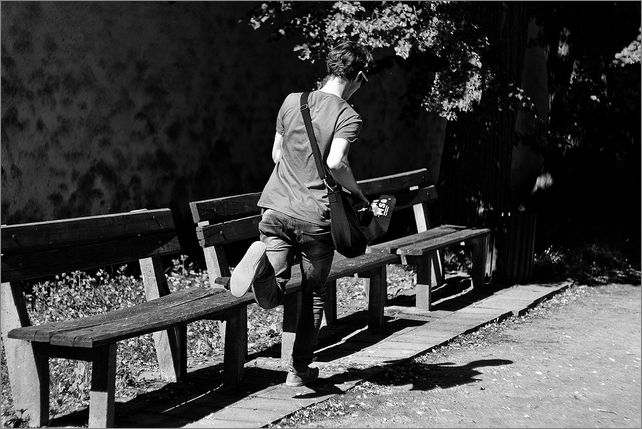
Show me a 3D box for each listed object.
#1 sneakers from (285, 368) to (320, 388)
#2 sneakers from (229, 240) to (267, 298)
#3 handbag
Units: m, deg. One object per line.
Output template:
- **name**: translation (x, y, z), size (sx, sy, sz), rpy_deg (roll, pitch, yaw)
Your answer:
- **sneakers**: translation (-0.169, 1.409, 5.199), size (0.125, 0.159, 0.349), rpy_deg (9, 13, 36)
- **sneakers**: translation (-0.554, 0.434, 4.640), size (0.213, 0.454, 0.171), rpy_deg (40, 13, 36)
- **handbag**: translation (0.102, -0.312, 4.760), size (0.595, 1.272, 0.295), rpy_deg (3, 9, 3)
